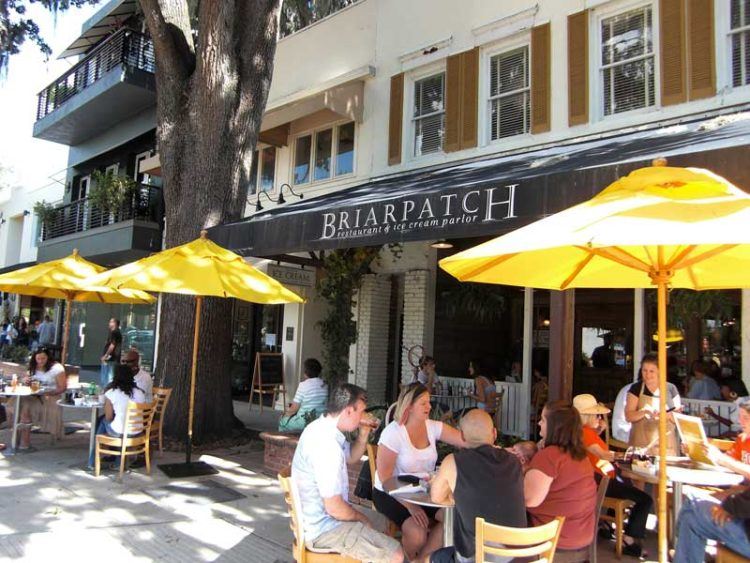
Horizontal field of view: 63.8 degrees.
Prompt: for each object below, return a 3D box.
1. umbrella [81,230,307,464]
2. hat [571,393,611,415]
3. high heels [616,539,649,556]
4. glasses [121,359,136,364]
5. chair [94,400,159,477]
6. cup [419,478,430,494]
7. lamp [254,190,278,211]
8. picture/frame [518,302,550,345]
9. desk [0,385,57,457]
[{"bbox_3d":[-2.759,1.148,9.427,2.747,3.503,3.128,5,-3,-31],"label":"umbrella"},{"bbox_3d":[2.471,1.414,6.856,0.380,0.128,0.377,-4,2,1],"label":"hat"},{"bbox_3d":[2.938,3.010,6.844,0.156,0.121,0.307,2,-8,-36],"label":"high heels"},{"bbox_3d":[-3.916,1.288,9.652,0.154,0.060,0.157,5,-6,-36],"label":"glasses"},{"bbox_3d":[-3.653,2.312,8.885,0.756,1.056,0.692,-6,-11,44],"label":"chair"},{"bbox_3d":[0.489,1.973,5.826,0.119,0.135,0.094,-8,-26,17],"label":"cup"},{"bbox_3d":[-2.709,-2.021,15.216,0.494,0.682,0.758,2,-8,-12],"label":"lamp"},{"bbox_3d":[4.075,1.195,15.151,1.042,0.165,2.027,-3,26,14],"label":"picture/frame"},{"bbox_3d":[-5.883,2.284,10.124,0.660,1.071,1.494,4,-9,-28],"label":"desk"}]
